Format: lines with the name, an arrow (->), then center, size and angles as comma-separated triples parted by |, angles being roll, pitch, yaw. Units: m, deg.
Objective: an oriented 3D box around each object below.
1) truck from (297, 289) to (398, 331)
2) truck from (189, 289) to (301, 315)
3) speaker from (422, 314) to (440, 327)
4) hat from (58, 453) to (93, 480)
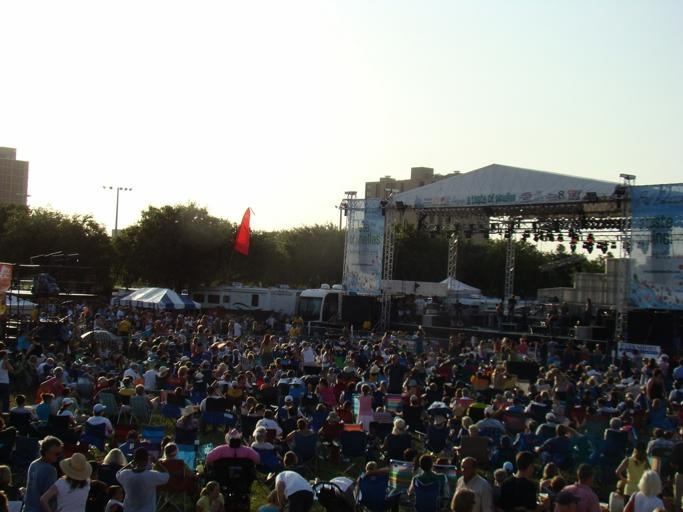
truck -> 0.064, 2.567, 36.568 | 3.790, 2.009, 1.640 | 3, 0, 26
truck -> -4.953, 2.683, 41.227 | 5.778, 2.087, 1.980 | 3, 2, 27
speaker -> 3.889, 2.801, 34.463 | 0.471, 0.499, 0.485 | 1, -3, -13
hat -> -4.215, 3.340, 12.519 | 0.409, 0.184, 0.467 | 4, 32, -41
